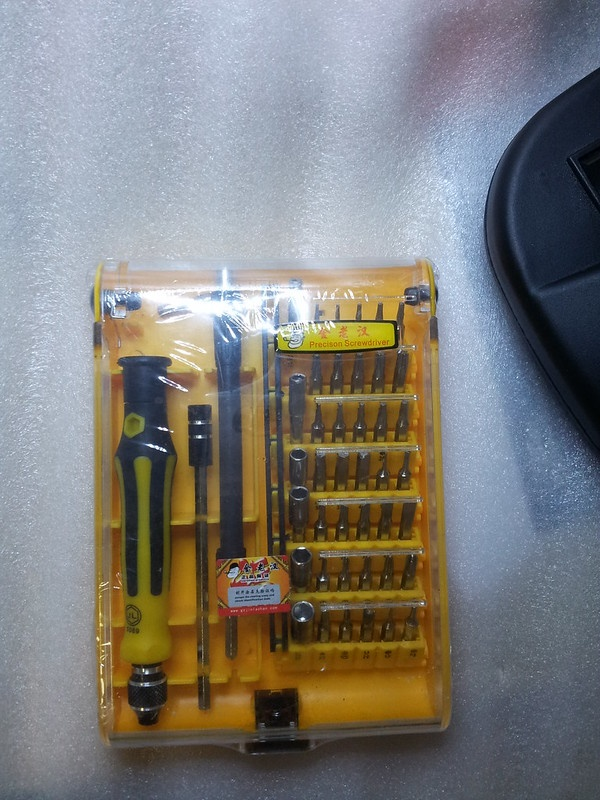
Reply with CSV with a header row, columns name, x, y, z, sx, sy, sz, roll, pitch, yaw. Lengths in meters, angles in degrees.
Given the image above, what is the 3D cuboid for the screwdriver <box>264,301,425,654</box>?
name,x,y,z,sx,sy,sz,roll,pitch,yaw
screwdriver,0.064,0.097,1.044,0.234,0.420,0.128,-1,4,-3
